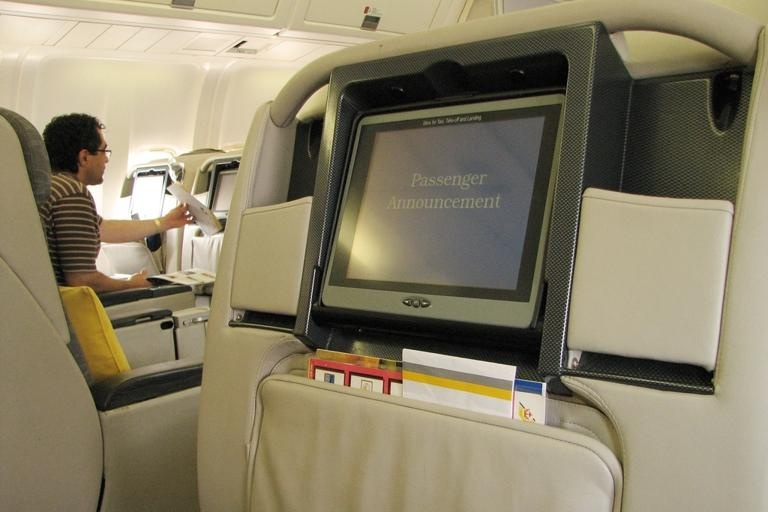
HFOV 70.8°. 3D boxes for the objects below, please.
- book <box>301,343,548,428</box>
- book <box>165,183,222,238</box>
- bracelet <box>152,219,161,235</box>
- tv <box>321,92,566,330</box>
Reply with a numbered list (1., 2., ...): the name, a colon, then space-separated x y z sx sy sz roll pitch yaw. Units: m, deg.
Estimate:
1. book: 0.065 0.227 1.028 0.476 0.116 0.057 8 11 18
2. book: -0.771 -0.230 2.351 0.262 0.065 0.254 41 -16 24
3. bracelet: -1.271 -0.167 3.046 0.023 0.088 0.092 4 -13 -36
4. tv: 0.131 -0.077 1.084 0.462 0.461 0.049 8 -12 31
